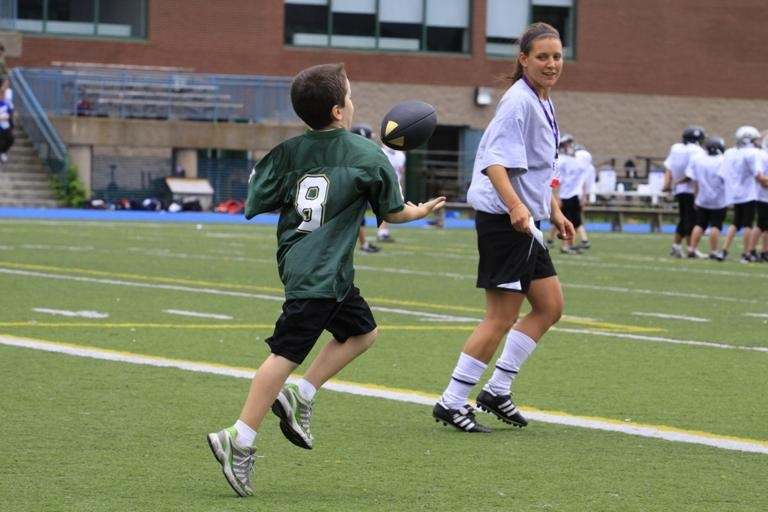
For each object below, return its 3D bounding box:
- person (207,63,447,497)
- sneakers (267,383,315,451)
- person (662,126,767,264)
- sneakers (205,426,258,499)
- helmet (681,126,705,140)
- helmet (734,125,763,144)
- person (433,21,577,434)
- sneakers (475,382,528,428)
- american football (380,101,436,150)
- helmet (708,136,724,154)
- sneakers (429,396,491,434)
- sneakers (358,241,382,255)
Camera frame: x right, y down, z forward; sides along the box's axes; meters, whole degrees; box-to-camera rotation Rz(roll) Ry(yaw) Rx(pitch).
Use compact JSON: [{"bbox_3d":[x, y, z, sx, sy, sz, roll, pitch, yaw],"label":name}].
[{"bbox_3d":[-0.395,0.061,5.230,1.082,2.122,0.591,-4,11,-32],"label":"person"},{"bbox_3d":[-0.461,0.830,5.296,0.136,0.378,0.189,-1,33,42],"label":"sneakers"},{"bbox_3d":[2.382,-0.430,7.024,0.556,0.955,0.327,9,11,36],"label":"person"},{"bbox_3d":[-0.715,0.983,4.995,0.183,0.355,0.185,-29,6,-4],"label":"sneakers"},{"bbox_3d":[2.185,-0.871,7.089,0.123,0.085,0.099,0,5,-8],"label":"helmet"},{"bbox_3d":[2.498,-0.833,6.868,0.115,0.121,0.151,16,39,42],"label":"helmet"},{"bbox_3d":[0.763,-0.174,5.986,0.871,2.444,0.567,-6,12,-41],"label":"person"},{"bbox_3d":[0.722,0.913,6.154,0.382,0.191,0.138,28,-5,15],"label":"sneakers"},{"bbox_3d":[0.144,-0.738,5.604,0.235,0.202,0.323,-25,5,-32],"label":"american football"},{"bbox_3d":[2.307,-0.782,7.023,0.116,0.099,0.104,-19,24,-10],"label":"helmet"},{"bbox_3d":[0.445,0.954,6.025,0.423,0.167,0.146,15,-4,-11],"label":"sneakers"},{"bbox_3d":[-0.186,-0.156,15.775,0.411,0.172,0.136,4,1,-45],"label":"sneakers"}]
